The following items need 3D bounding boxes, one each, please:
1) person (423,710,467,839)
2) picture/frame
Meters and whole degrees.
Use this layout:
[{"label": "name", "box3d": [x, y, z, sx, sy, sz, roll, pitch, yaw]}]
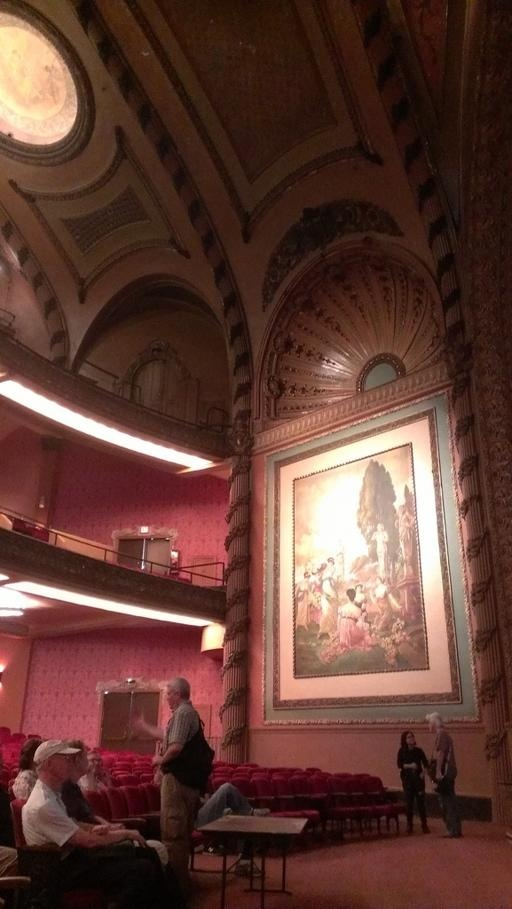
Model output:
[{"label": "person", "box3d": [1.982, 3.341, 6.365, 0.268, 1.102, 1.731, -4, -25, 16]}, {"label": "picture/frame", "box3d": [1.844, 1.717, 9.570, 0.215, 4.995, 3.933, 17, -27, -38]}]
